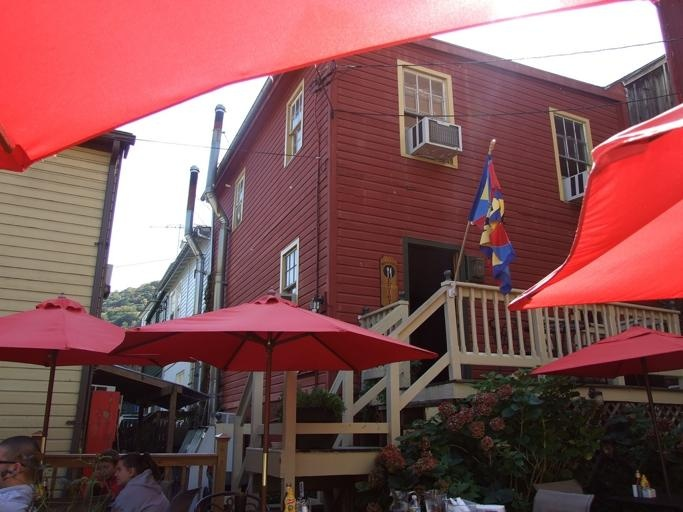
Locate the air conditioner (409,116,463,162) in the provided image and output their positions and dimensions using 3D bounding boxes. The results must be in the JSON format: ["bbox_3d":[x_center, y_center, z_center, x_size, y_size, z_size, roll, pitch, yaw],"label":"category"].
[{"bbox_3d":[1.767,-2.274,11.023,0.933,0.511,0.616,3,-11,-37],"label":"air conditioner"}]

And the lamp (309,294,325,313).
[{"bbox_3d":[-0.439,0.842,10.017,0.230,0.285,0.109,3,-5,38],"label":"lamp"}]

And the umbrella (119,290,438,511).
[{"bbox_3d":[-0.782,1.382,5.598,2.779,2.013,1.913,6,-22,-15],"label":"umbrella"}]
